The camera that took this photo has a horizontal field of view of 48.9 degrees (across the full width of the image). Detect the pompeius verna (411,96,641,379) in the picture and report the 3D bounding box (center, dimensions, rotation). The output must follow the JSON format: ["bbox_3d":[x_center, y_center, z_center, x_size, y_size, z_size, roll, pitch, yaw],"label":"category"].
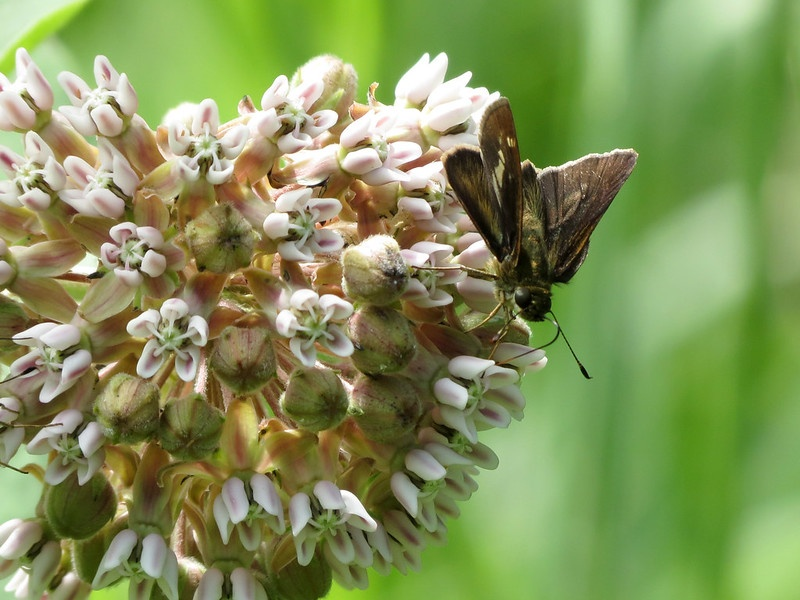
[{"bbox_3d":[0.200,-0.110,1.448,0.245,0.370,0.476,22,5,29],"label":"pompeius verna"}]
